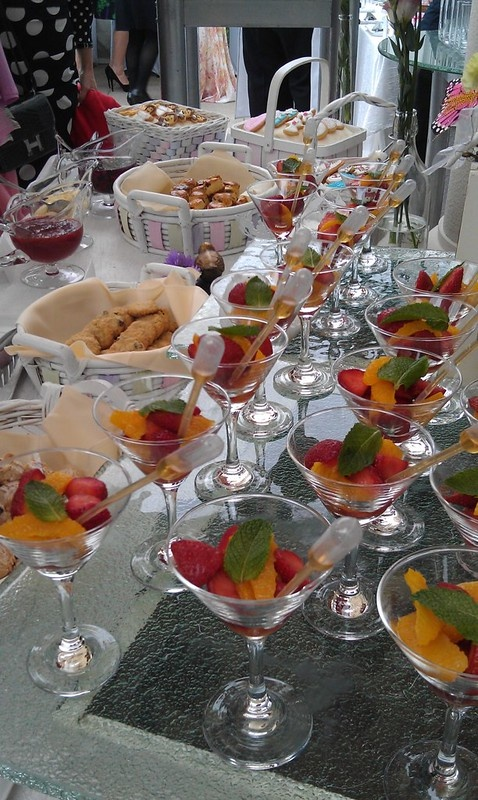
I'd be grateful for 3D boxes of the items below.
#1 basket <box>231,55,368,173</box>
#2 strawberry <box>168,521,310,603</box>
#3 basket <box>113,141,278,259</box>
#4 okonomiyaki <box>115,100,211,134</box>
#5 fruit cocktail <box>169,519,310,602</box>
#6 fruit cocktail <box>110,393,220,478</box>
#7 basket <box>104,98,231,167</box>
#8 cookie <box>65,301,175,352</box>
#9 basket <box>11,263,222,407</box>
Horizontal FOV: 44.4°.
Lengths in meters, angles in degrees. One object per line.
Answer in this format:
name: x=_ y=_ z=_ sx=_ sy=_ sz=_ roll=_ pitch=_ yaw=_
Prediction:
basket: x=0.240 y=-1.016 z=2.178 sx=0.441 sy=0.474 sz=0.324 roll=2 pitch=14 yaw=-30
strawberry: x=-0.009 y=0.108 z=0.447 sx=0.068 sy=0.032 sz=0.071 roll=4 pitch=5 yaw=44
basket: x=-0.142 y=-0.531 z=1.791 sx=0.438 sy=0.187 sz=0.397 roll=14 pitch=49 yaw=14
okonomiyaki: x=-0.307 y=-1.075 z=2.200 sx=0.269 sy=0.055 sz=0.197 roll=23 pitch=38 yaw=30
fruit cocktail: x=-0.004 y=0.116 z=0.460 sx=0.072 sy=0.032 sz=0.068 roll=5 pitch=-4 yaw=-29
fruit cocktail: x=-0.088 y=0.030 z=0.645 sx=0.093 sy=0.064 sz=0.088 roll=2 pitch=32 yaw=0
basket: x=-0.278 y=-1.027 z=2.246 sx=0.423 sy=0.151 sz=0.320 roll=8 pitch=37 yaw=11
cookie: x=-0.247 y=-0.165 z=1.333 sx=0.140 sy=0.055 sz=0.190 roll=9 pitch=28 yaw=31
basket: x=-0.338 y=-0.149 z=1.270 sx=0.257 sy=0.119 sz=0.269 roll=-30 pitch=29 yaw=-1
